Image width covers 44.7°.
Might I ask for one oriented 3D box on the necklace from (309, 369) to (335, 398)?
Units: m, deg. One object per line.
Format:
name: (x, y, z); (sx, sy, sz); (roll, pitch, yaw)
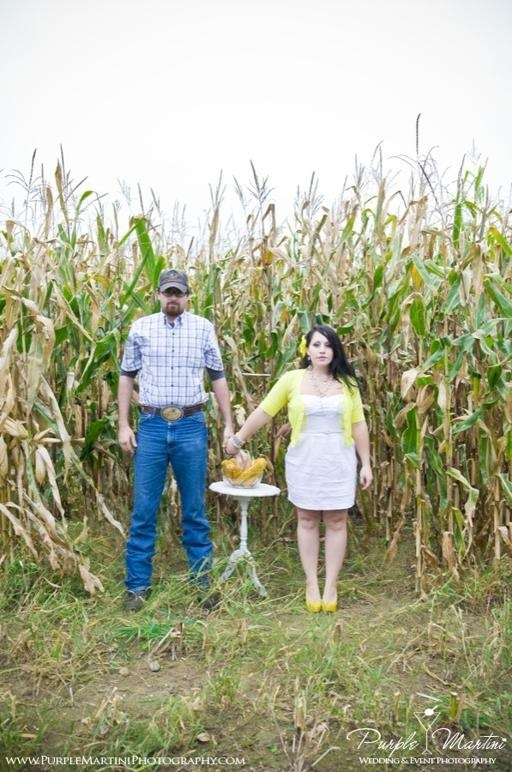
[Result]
necklace: (0.339, -0.013, 3.101); (0.125, 0.116, 0.093); (1, 5, 6)

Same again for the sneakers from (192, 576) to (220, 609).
sneakers: (-0.260, 1.081, 3.287); (0.102, 0.074, 0.165); (5, 5, -29)

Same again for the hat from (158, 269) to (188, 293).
hat: (-0.431, -0.543, 3.232); (0.150, 0.122, 0.147); (-1, 6, -21)

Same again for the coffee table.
coffee table: (-0.064, 0.805, 3.377); (0.381, 0.530, 0.384); (3, 0, -19)

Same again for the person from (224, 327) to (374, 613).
person: (0.266, 0.415, 3.200); (0.638, 1.448, 0.300); (2, 5, 12)

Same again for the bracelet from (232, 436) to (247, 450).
bracelet: (-0.093, 0.289, 3.282); (0.047, 0.072, 0.069); (-34, 26, -13)

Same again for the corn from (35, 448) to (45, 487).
corn: (-1.047, 0.383, 3.003); (0.040, 0.175, 0.146); (-1, 6, -20)

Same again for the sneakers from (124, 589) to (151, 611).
sneakers: (-0.606, 1.104, 3.230); (0.120, 0.125, 0.060); (4, -4, 18)
